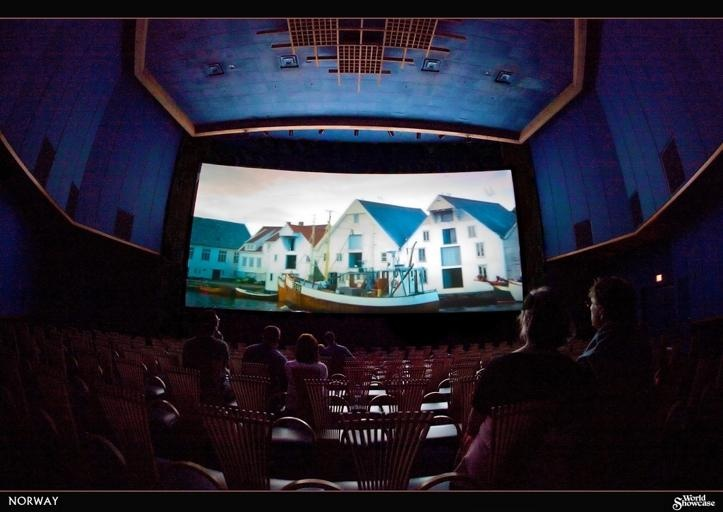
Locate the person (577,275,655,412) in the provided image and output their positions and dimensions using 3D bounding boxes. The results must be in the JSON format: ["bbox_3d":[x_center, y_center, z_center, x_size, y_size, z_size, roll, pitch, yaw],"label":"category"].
[{"bbox_3d":[2.542,0.869,4.600,0.645,1.316,0.295,-3,-11,18],"label":"person"}]

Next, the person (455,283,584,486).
[{"bbox_3d":[1.452,1.134,4.111,1.076,1.699,0.314,0,-11,2],"label":"person"}]
